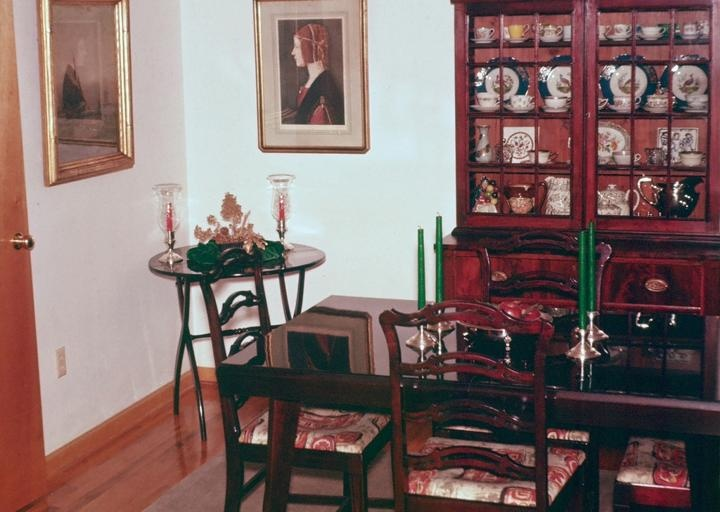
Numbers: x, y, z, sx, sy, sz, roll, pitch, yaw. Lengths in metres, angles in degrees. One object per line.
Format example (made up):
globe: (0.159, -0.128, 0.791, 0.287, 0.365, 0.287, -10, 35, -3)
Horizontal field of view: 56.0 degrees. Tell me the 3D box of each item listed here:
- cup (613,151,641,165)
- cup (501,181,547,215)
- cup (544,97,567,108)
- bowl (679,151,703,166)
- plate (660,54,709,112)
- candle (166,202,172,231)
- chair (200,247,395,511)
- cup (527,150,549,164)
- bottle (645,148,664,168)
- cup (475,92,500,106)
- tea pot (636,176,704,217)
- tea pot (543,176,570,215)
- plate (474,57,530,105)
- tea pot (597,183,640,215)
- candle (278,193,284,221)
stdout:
cup: (1.479, -0.526, 3.735, 0.123, 0.058, 0.104, 2, 3, 14)
cup: (0.946, -0.335, 3.897, 0.227, 0.162, 0.179, 0, 4, 5)
cup: (1.092, -0.859, 3.765, 0.072, 0.036, 0.074, 0, -1, 0)
bowl: (1.788, -0.524, 3.644, 0.083, 0.055, 0.085, -3, 7, 0)
plate: (1.757, -0.925, 3.633, 0.266, 0.286, 0.072, 14, 15, 19)
candle: (-1.086, -0.225, 3.869, 0.042, 0.154, 0.051, -1, 10, 4)
chair: (-0.282, 0.592, 3.173, 0.915, 1.379, 1.023, 1, 10, 14)
cup: (1.017, -0.572, 3.863, 0.092, 0.052, 0.115, -2, -3, 26)
bottle: (1.631, -0.550, 3.736, 0.110, 0.117, 0.079, 0, 3, 26)
cup: (0.727, -0.895, 3.846, 0.096, 0.068, 0.079, -1, 4, -22)
tea pot: (1.718, -0.337, 3.748, 0.279, 0.207, 0.222, -6, 8, 11)
tea pot: (1.141, -0.353, 3.904, 0.195, 0.220, 0.133, 5, 16, 11)
plate: (0.829, -1.018, 3.909, 0.263, 0.277, 0.044, -6, 12, 1)
tea pot: (1.445, -0.318, 3.841, 0.221, 0.198, 0.166, 1, -2, -31)
candle: (-0.460, -0.289, 4.012, 0.043, 0.144, 0.023, -3, 10, -6)
